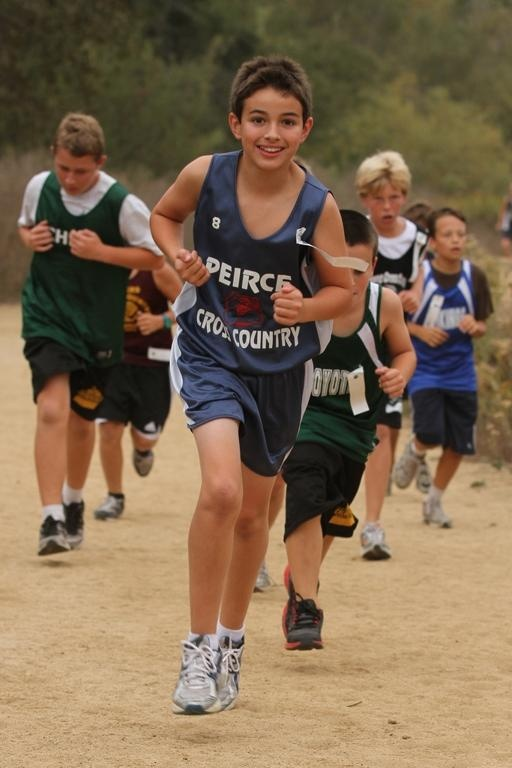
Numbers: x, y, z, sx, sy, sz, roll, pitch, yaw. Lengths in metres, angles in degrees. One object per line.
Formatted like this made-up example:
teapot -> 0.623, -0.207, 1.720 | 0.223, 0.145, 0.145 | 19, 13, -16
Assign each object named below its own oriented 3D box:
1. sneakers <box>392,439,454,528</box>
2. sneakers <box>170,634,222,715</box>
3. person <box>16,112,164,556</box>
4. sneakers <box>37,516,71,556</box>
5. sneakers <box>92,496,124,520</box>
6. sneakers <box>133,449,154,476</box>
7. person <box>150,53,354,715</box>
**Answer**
sneakers -> 1.042, 0.607, 5.668 | 0.189, 0.249, 0.559 | -1, 10, -17
sneakers -> -0.137, 0.691, 2.249 | 0.086, 0.100, 0.232 | 0, -2, 2
person -> -0.804, -0.202, 4.087 | 0.550, 1.967, 0.585 | 7, 4, 33
sneakers -> -0.851, 0.653, 3.903 | 0.118, 0.215, 0.265 | 4, 3, -11
sneakers -> -0.808, 0.672, 5.057 | 0.084, 0.093, 0.223 | -1, -10, 9
sneakers -> -0.709, 0.513, 5.851 | 0.101, 0.233, 0.063 | -8, 19, -11
person -> -0.023, 0.028, 2.397 | 0.527, 1.762, 0.624 | 4, 3, -7
